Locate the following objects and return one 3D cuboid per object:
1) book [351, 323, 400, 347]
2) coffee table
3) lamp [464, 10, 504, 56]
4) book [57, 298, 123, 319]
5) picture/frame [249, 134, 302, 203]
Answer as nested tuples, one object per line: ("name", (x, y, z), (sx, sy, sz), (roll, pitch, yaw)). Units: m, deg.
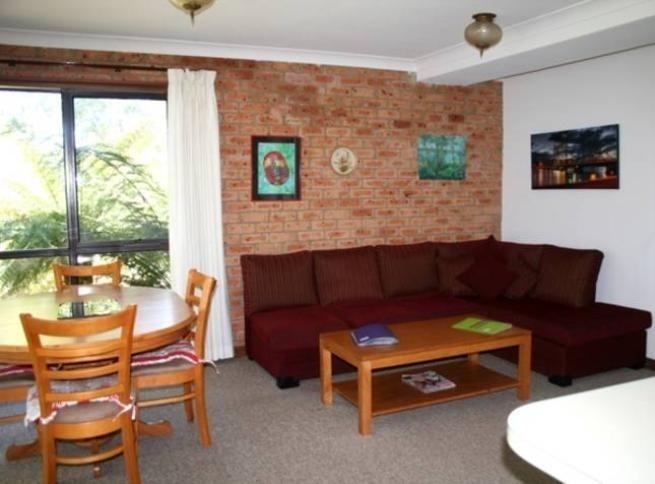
("book", (0.358, 0.696, 3.670), (0.327, 0.087, 0.262), (-2, 12, -5))
("coffee table", (0.766, 0.973, 3.874), (1.540, 0.602, 0.737), (-5, 13, -21))
("lamp", (1.111, -1.463, 3.482), (0.254, 0.267, 0.252), (2, 6, 3))
("book", (-1.558, 0.426, 3.175), (0.367, 0.049, 0.521), (-7, 13, -27))
("picture/frame", (-0.554, -0.763, 4.915), (0.731, 0.834, 0.075), (-2, 4, -16))
